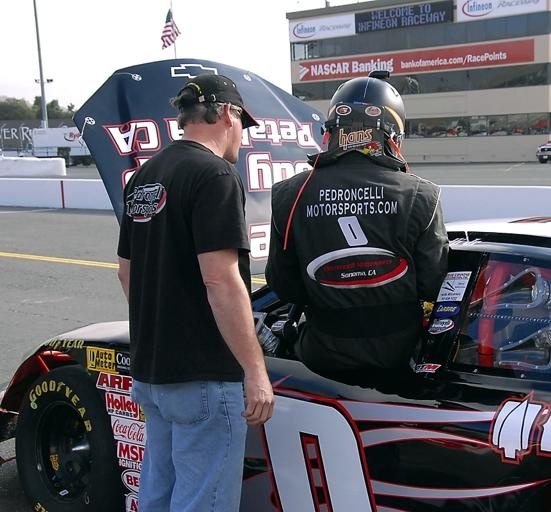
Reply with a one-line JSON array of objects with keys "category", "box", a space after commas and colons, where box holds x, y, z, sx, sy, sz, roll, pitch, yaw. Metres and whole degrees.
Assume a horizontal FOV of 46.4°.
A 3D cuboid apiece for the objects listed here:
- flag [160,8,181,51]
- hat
[{"category": "flag", "box": [-2.699, -5.846, 16.607, 0.481, 1.002, 1.404, -3, 13, -9]}, {"category": "hat", "box": [-0.202, -0.518, 2.142, 0.232, 0.110, 0.152, -5, 13, -30]}]
